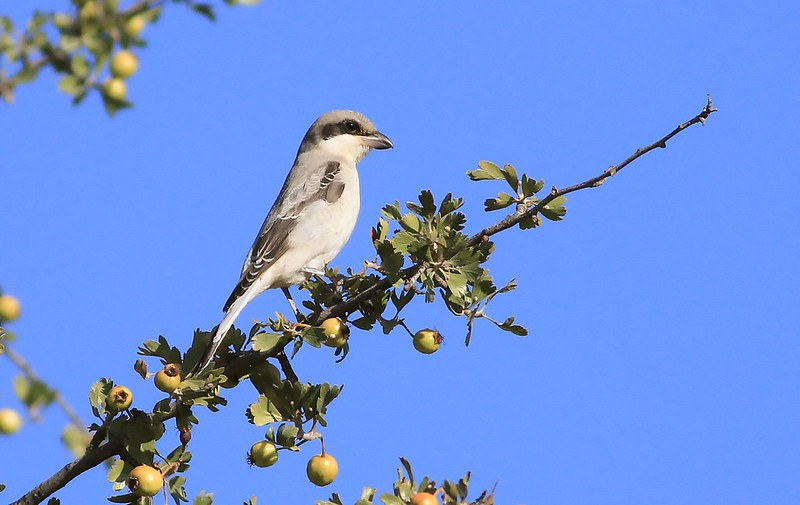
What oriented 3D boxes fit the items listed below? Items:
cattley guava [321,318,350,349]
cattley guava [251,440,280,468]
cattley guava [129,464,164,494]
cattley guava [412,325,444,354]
[{"bbox_3d":[-0.439,0.555,8.790,0.219,0.226,0.255,3,-86,-1],"label":"cattley guava"},{"bbox_3d":[-0.922,1.379,8.513,0.179,0.127,0.180,13,-67,-1],"label":"cattley guava"},{"bbox_3d":[-1.701,1.532,8.476,0.239,0.153,0.186,-1,-67,5],"label":"cattley guava"},{"bbox_3d":[0.187,0.613,8.646,0.182,0.118,0.149,-18,-70,12],"label":"cattley guava"}]
